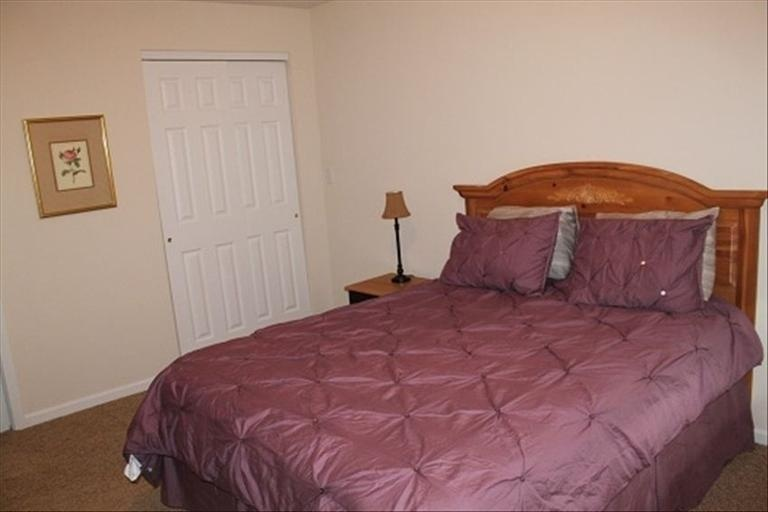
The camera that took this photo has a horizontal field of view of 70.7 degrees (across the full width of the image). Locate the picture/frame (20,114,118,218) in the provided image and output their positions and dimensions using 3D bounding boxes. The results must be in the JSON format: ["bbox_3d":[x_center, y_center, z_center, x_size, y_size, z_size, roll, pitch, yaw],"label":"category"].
[{"bbox_3d":[-2.492,-0.713,4.227,0.793,0.856,0.065,-13,15,-27],"label":"picture/frame"}]
